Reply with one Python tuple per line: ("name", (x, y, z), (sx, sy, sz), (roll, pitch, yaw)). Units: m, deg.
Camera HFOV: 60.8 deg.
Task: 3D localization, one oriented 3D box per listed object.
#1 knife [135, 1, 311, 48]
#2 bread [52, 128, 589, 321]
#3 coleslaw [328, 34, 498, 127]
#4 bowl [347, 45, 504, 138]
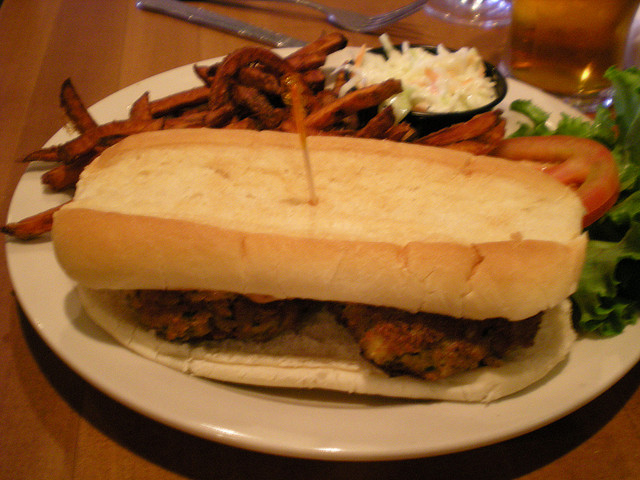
("knife", (-0.542, -1.270, 3.174), (1.193, 0.108, 0.243), (22, 43, 26))
("bread", (0.000, -0.076, 1.902), (1.747, 0.363, 0.596), (5, 40, 4))
("coleslaw", (0.484, -0.722, 2.449), (0.666, 0.176, 0.504), (2, 36, 2))
("bowl", (0.493, -0.671, 2.401), (0.680, 0.171, 0.515), (-2, 39, 1))
